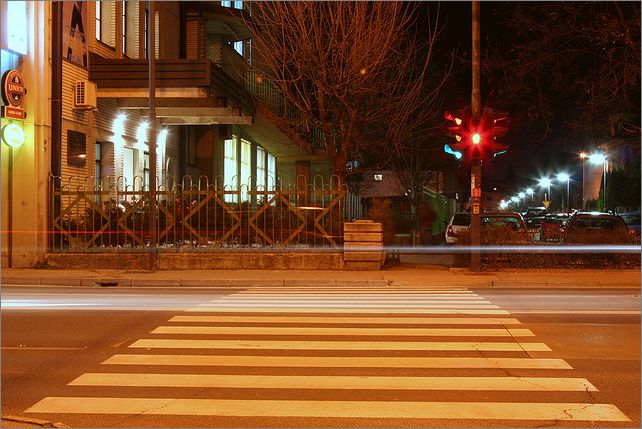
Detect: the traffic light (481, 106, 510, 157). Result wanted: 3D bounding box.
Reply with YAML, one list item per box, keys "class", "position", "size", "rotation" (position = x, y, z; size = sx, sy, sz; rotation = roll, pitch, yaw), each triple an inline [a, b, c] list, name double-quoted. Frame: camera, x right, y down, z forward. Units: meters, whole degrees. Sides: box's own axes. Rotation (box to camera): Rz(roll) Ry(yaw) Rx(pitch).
- class: "traffic light"
  position: [5.504, -2.584, 22.364]
  size: [0.827, 1.653, 0.616]
  rotation: [1, 9, 11]

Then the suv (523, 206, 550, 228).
- class: "suv"
  position: [15.311, 0.186, 49.989]
  size: [1.584, 1.437, 2.807]
  rotation: [-3, -10, 13]

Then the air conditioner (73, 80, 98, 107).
- class: "air conditioner"
  position: [-8.820, -4.376, 25.885]
  size: [0.464, 0.878, 0.910]
  rotation: [8, 20, -11]

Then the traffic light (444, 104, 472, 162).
- class: "traffic light"
  position: [4.447, -2.622, 22.852]
  size: [0.787, 1.701, 1.265]
  rotation: [1, 9, 9]

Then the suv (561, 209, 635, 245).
- class: "suv"
  position: [9.992, 0.848, 25.474]
  size: [1.888, 1.463, 3.077]
  rotation: [0, 5, 12]

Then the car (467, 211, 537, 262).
- class: "car"
  position: [6.282, 0.637, 24.775]
  size: [1.792, 0.941, 2.535]
  rotation: [1, 11, 12]

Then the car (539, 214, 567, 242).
- class: "car"
  position: [12.174, 0.682, 36.939]
  size: [1.465, 1.145, 2.408]
  rotation: [1, 5, 8]
